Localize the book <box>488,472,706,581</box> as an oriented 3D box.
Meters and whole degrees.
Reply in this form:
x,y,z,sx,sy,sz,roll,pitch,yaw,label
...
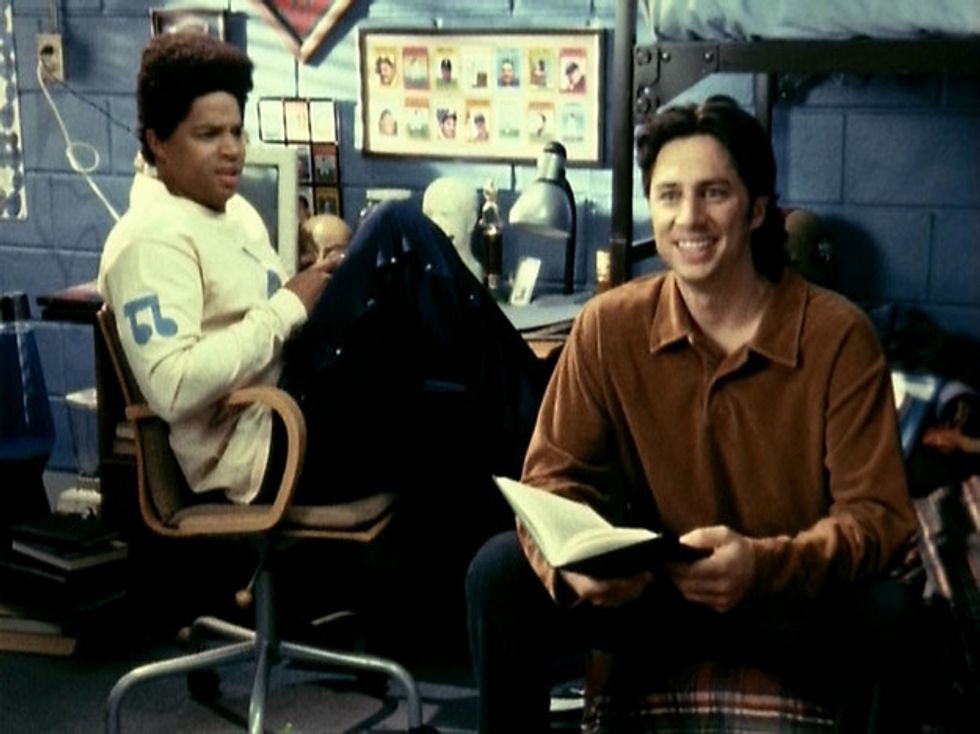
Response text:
x,y,z,sx,sy,sz,roll,pitch,yaw,label
0.166,0.272,1.683,0.346,0.150,0.178,3,8,12,book

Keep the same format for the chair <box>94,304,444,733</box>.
x,y,z,sx,sy,sz,roll,pitch,yaw,label
-0.446,0.407,2.881,0.812,1.227,1.014,0,0,5,chair

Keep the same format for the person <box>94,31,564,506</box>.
x,y,z,sx,sy,sz,roll,pitch,yaw,label
-0.406,-0.336,2.828,1.035,1.226,0.876,-7,12,-12,person

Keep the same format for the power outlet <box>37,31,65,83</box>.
x,y,z,sx,sy,sz,roll,pitch,yaw,label
-1.598,-1.115,3.895,0.086,0.169,0.057,-2,-5,-3,power outlet
